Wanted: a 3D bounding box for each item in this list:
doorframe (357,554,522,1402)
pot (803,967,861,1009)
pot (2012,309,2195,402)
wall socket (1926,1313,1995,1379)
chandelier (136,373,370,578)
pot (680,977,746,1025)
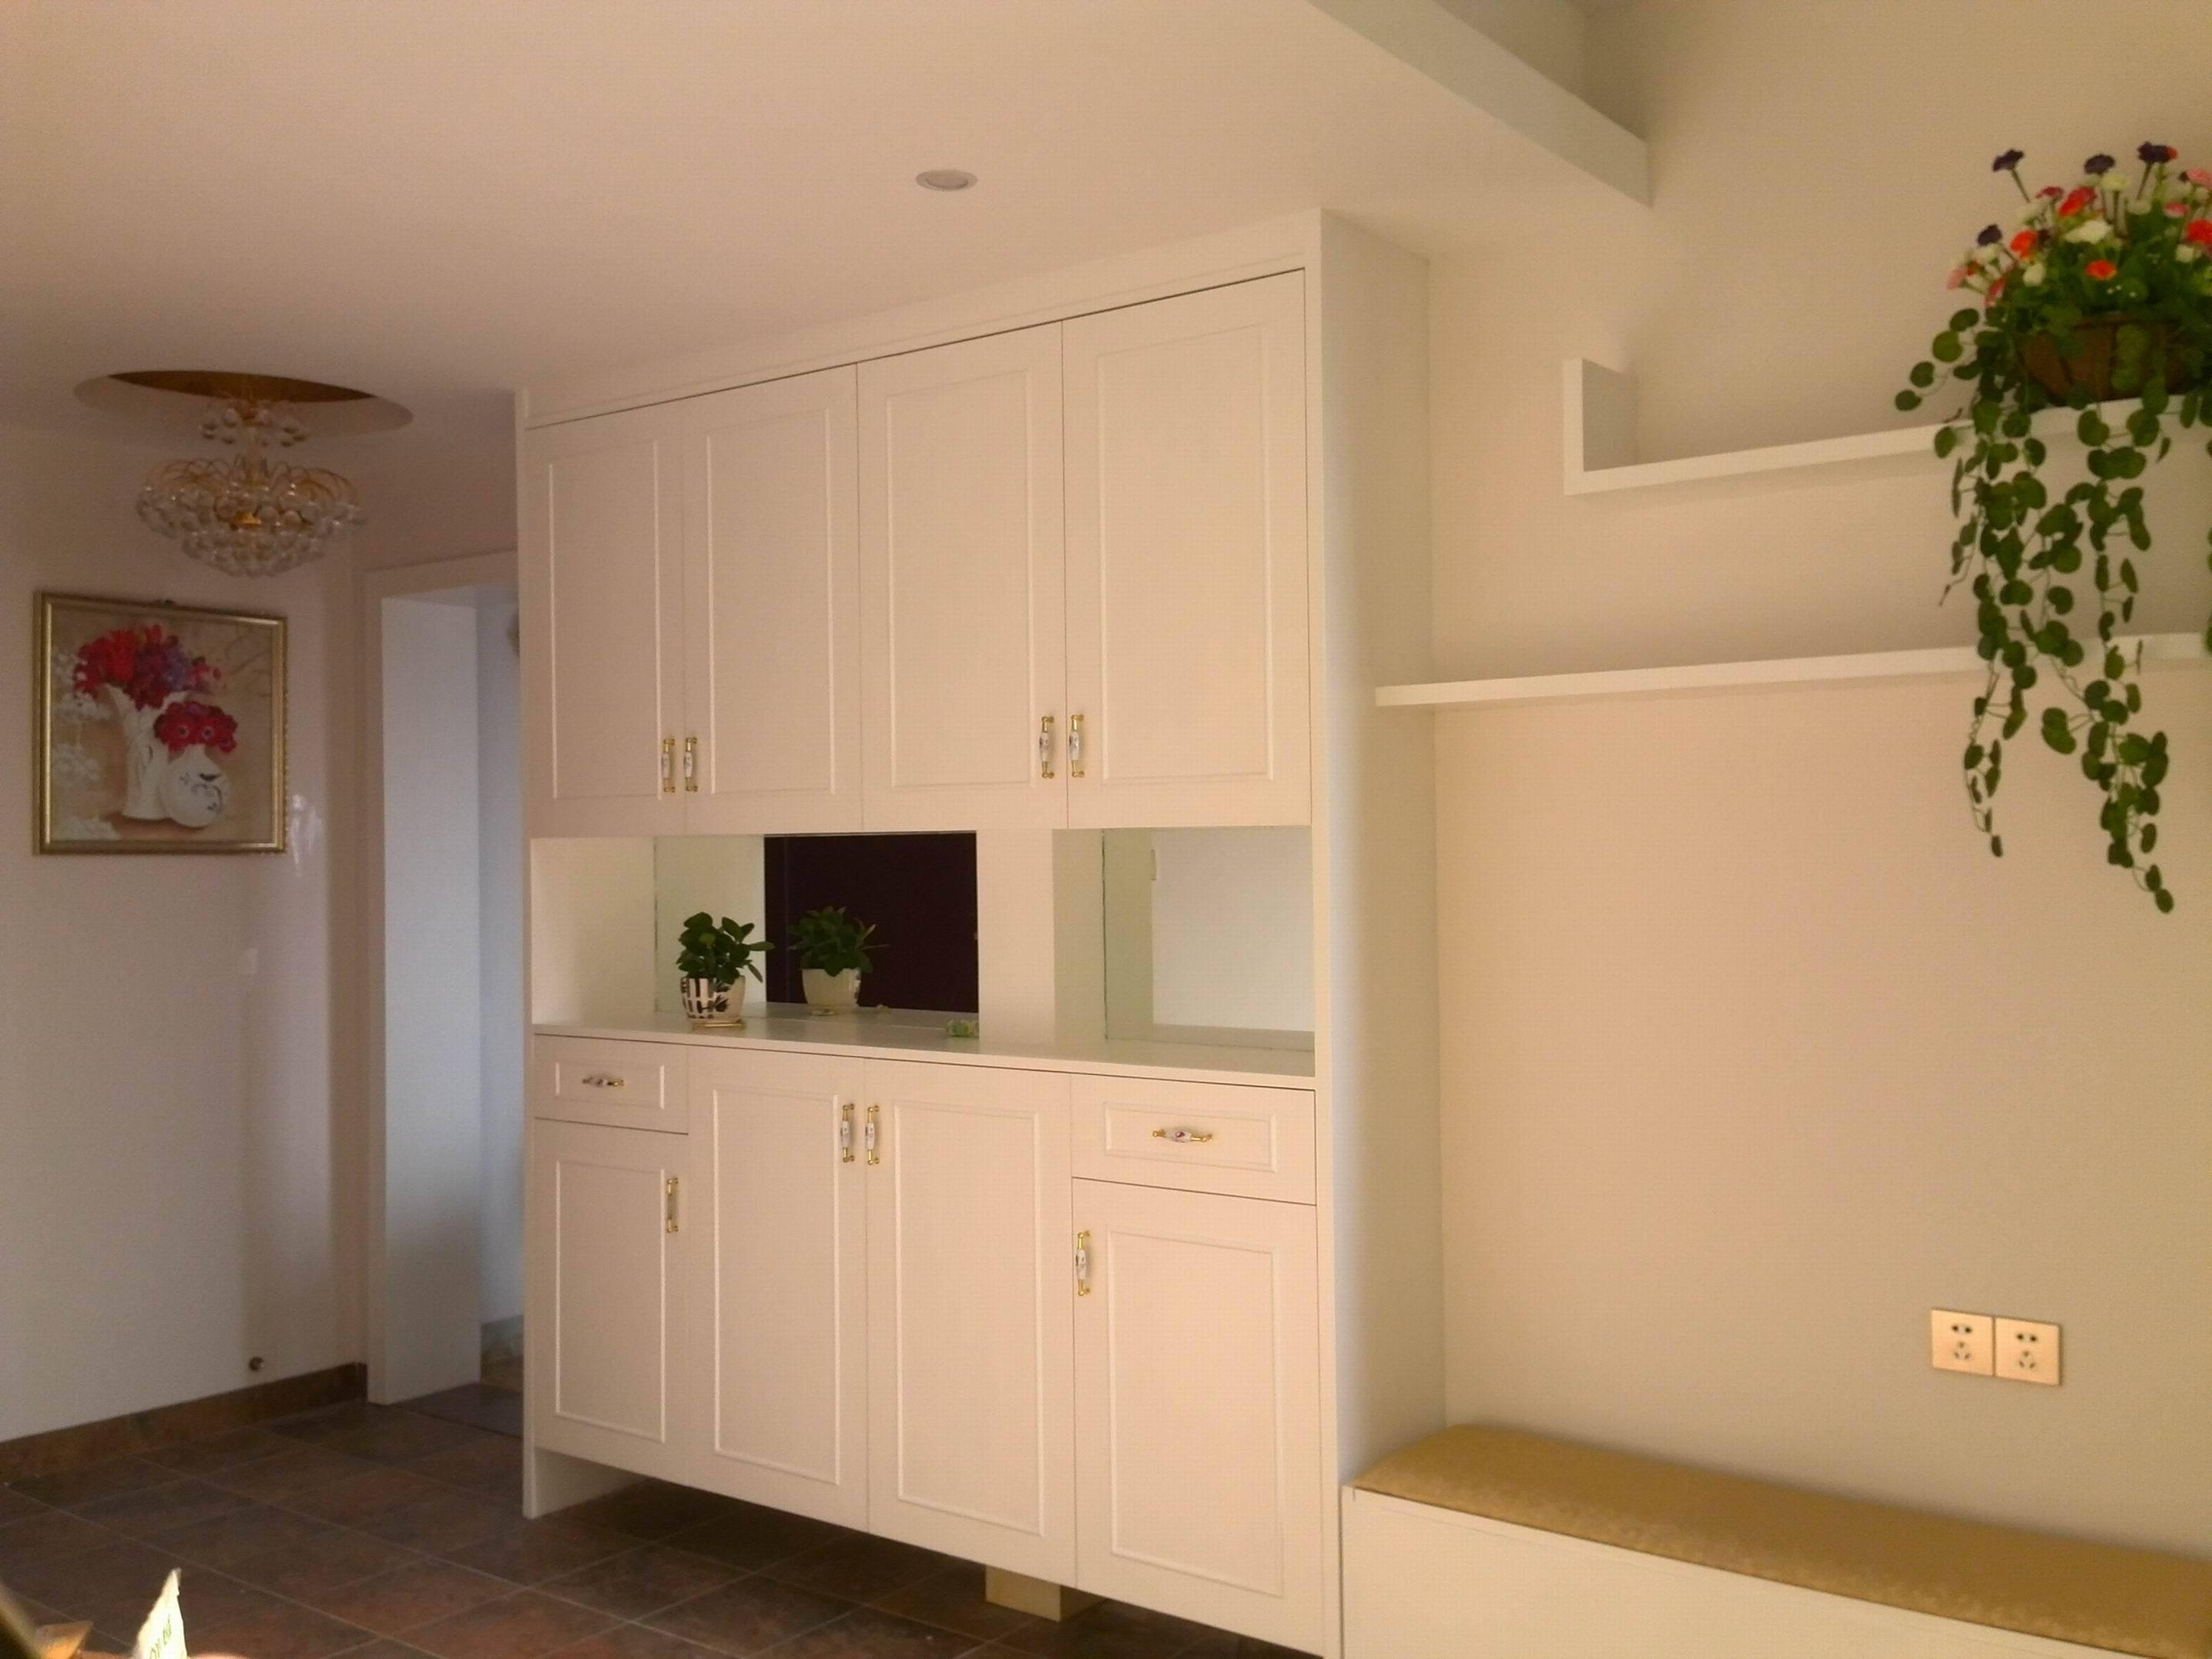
[{"bbox_3d":[-1.945,0.440,5.691,0.396,2.427,0.639,-2,2,7],"label":"doorframe"},{"bbox_3d":[-0.656,0.370,4.509,0.127,0.068,0.111,-1,-2,-7],"label":"pot"},{"bbox_3d":[1.572,-0.722,2.932,0.152,0.082,0.183,1,-3,-36],"label":"pot"},{"bbox_3d":[1.470,0.879,3.211,0.139,0.136,0.026,-3,-5,41],"label":"wall socket"},{"bbox_3d":[-1.940,-0.814,4.403,0.482,0.362,0.466,4,4,41],"label":"chandelier"},{"bbox_3d":[-0.918,0.400,4.457,0.145,0.086,0.123,-1,-4,16],"label":"pot"}]
